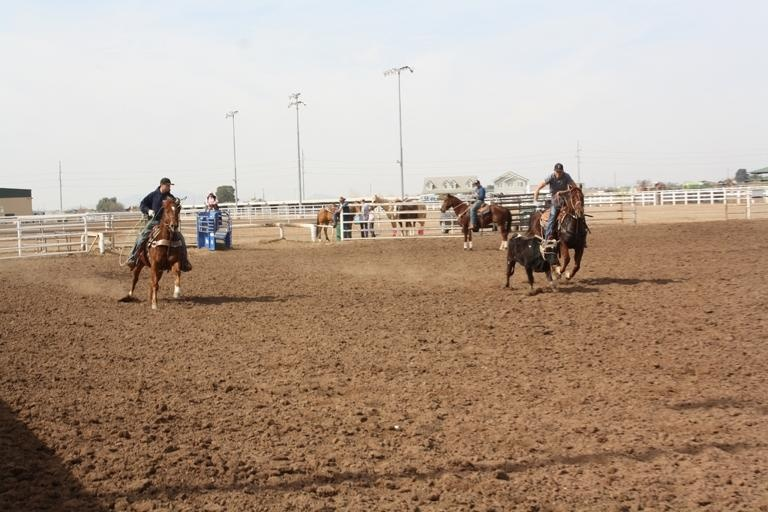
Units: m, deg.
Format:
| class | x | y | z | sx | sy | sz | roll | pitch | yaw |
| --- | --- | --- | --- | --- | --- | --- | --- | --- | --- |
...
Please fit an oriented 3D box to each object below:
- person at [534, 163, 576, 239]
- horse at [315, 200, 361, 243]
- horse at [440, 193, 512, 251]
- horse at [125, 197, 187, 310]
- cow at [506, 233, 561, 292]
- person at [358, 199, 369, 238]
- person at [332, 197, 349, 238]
| class | x | y | z | sx | sy | sz | roll | pitch | yaw |
| --- | --- | --- | --- | --- | --- | --- | --- | --- | --- |
| person | 3.968 | -1.191 | 15.677 | 1.111 | 1.940 | 0.944 | -7 | 6 | -7 |
| horse | -2.188 | -1.606 | 30.997 | 2.701 | 1.719 | 0.695 | -1 | 0 | 34 |
| horse | 3.375 | -1.200 | 24.297 | 2.656 | 1.959 | 0.740 | 1 | 2 | 22 |
| horse | -4.961 | 0.063 | 14.898 | 1.017 | 2.375 | 3.698 | 3 | -8 | -27 |
| cow | 3.202 | 0.184 | 14.832 | 0.642 | 1.162 | 2.024 | -3 | 6 | -18 |
| person | -0.894 | -1.616 | 30.010 | 0.444 | 1.599 | 1.370 | 0 | 4 | -2 |
| person | -1.920 | -1.474 | 30.172 | 0.682 | 1.629 | 1.169 | -1 | 4 | -4 |
